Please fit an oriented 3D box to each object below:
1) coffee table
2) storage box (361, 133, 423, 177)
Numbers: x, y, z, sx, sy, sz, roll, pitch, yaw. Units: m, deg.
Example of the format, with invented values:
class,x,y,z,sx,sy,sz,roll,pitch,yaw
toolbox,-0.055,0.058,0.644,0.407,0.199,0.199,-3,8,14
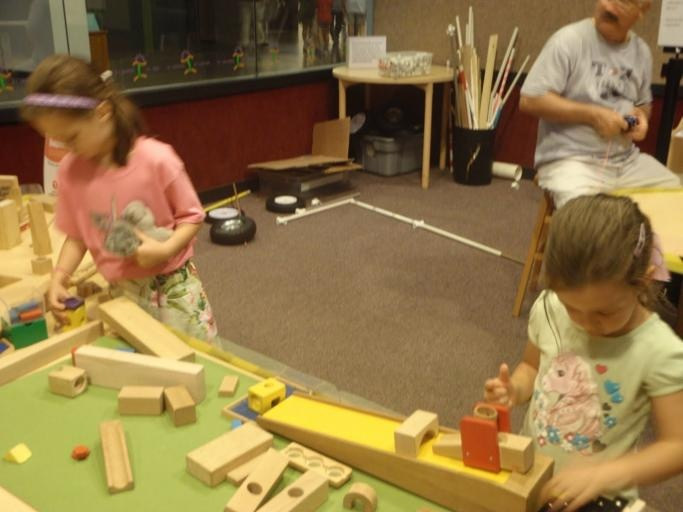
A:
class,x,y,z,sx,sy,sz,roll,pitch,yaw
coffee table,0.456,-1.181,5.132,1.055,1.035,1.183,-13,25,-25
storage box,0.475,-0.995,5.172,0.370,0.280,0.515,19,27,40
